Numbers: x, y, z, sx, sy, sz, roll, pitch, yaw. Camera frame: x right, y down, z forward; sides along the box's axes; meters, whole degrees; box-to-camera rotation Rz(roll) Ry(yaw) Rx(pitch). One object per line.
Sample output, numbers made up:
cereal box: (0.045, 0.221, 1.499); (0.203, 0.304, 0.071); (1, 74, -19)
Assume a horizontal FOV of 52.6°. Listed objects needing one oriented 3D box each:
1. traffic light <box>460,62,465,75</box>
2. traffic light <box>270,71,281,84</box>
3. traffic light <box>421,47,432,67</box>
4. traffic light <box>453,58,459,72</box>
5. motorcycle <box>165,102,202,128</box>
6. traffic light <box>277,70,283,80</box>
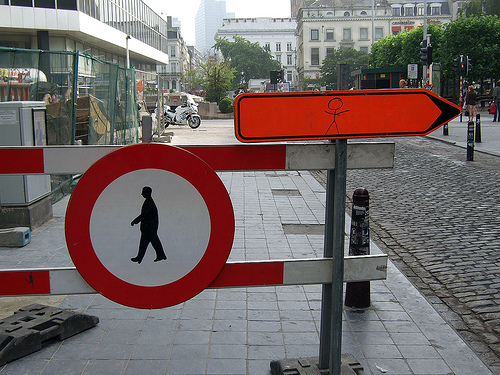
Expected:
traffic light: (10.088, -5.588, 23.770); (0.209, 0.582, 0.345); (1, 11, 3)
traffic light: (1.703, -7.376, 33.917); (0.521, 0.797, 2.036); (2, 12, 8)
traffic light: (9.360, -6.924, 26.678); (0.509, 0.868, 0.377); (10, 15, 43)
traffic light: (10.135, -5.941, 24.650); (0.157, 0.619, 1.420); (3, 12, 16)
motorcycle: (-4.162, -4.449, 31.322); (2.105, 1.644, 1.844); (-2, 12, -9)
traffic light: (2.170, -7.783, 35.055); (0.515, 0.589, 0.625); (-2, 7, 2)
